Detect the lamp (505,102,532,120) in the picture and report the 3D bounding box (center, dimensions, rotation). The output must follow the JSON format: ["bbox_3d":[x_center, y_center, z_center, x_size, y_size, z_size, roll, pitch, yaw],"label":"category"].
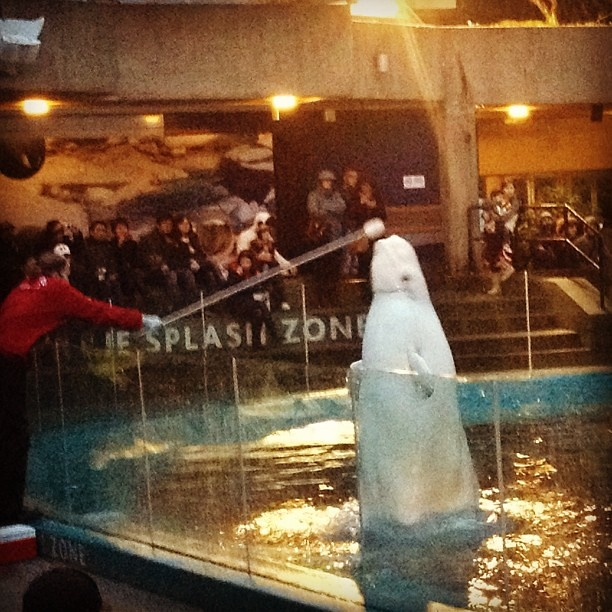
[{"bbox_3d":[3.400,-3.159,10.494,0.462,0.254,0.456,2,13,14],"label":"lamp"}]
